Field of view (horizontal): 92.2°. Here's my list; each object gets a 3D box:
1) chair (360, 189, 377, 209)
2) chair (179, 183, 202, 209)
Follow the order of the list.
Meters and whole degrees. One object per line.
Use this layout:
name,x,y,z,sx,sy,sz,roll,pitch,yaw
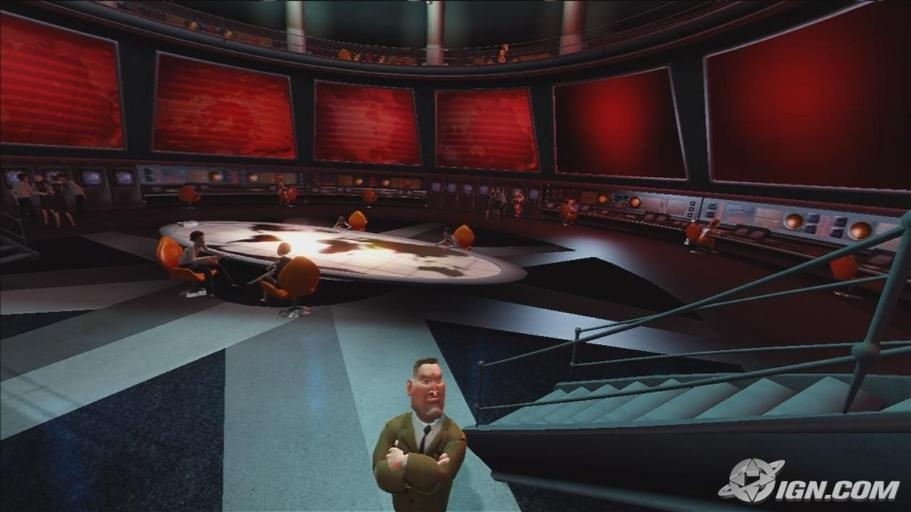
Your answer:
chair,-3.752,-2.534,19.229,0.671,0.823,0.975,1,10,-12
chair,-9.913,-2.238,16.404,0.675,0.894,1.052,-2,11,-26
